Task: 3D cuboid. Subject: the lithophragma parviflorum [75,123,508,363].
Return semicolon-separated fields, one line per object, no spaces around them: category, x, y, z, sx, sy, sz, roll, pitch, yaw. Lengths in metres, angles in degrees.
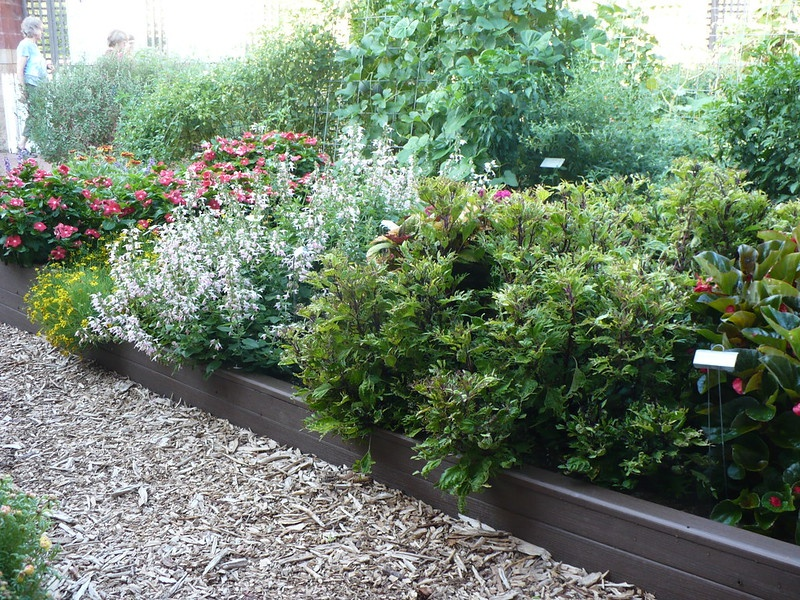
lithophragma parviflorum;-0.762;-0.348;4.056;2.277;1.042;1.581;-32;9;-26
